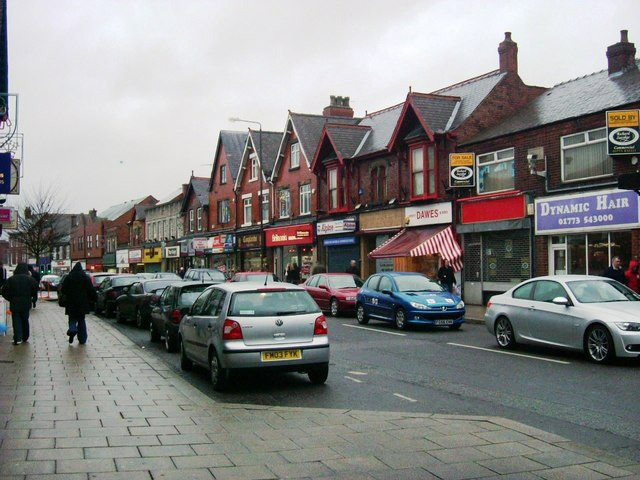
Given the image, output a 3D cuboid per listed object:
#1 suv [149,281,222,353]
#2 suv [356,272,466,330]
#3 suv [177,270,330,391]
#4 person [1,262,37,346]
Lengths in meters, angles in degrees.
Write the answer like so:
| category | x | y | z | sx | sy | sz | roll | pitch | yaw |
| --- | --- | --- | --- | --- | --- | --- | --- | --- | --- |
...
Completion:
| category | x | y | z | sx | sy | sz | roll | pitch | yaw |
| --- | --- | --- | --- | --- | --- | --- | --- | --- | --- |
| suv | -3.346 | 1.758 | 18.286 | 1.234 | 1.150 | 2.283 | 0 | 3 | -19 |
| suv | 2.442 | 1.739 | 21.780 | 1.438 | 1.200 | 2.843 | 2 | -6 | -25 |
| suv | -1.387 | 1.598 | 13.837 | 1.461 | 1.212 | 2.575 | 0 | 1 | -21 |
| person | -7.325 | 1.556 | 18.524 | 0.803 | 1.952 | 1.443 | -1 | 2 | -22 |
